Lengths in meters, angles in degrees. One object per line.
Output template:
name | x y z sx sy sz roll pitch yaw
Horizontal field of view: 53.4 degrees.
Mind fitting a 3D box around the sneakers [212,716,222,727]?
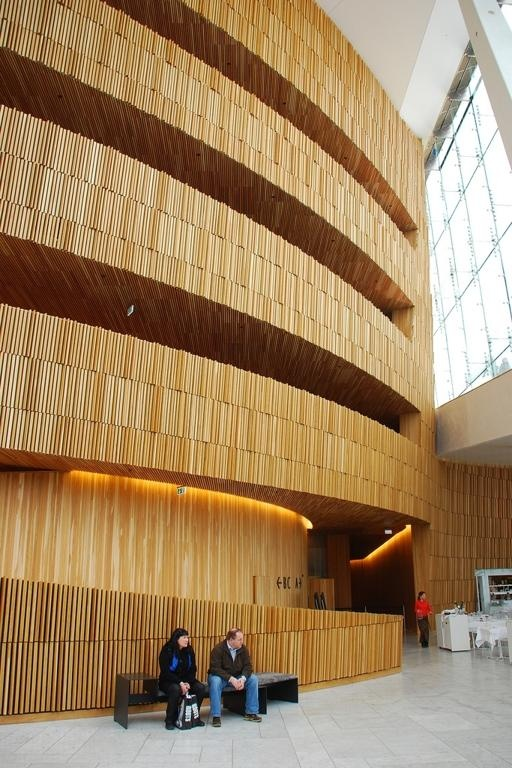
sneakers | -0.347 2.964 4.497 0.074 0.060 0.178 1 -16 -6

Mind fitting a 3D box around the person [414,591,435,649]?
person | 4.159 5.783 12.640 0.289 1.337 0.344 -4 2 -1

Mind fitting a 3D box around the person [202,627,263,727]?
person | -0.206 2.769 4.856 0.490 0.758 0.713 1 -14 -5

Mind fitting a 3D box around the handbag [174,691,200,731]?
handbag | -0.577 2.675 4.344 0.152 0.366 0.314 -12 -24 28

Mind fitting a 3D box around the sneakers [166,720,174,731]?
sneakers | -0.729 2.856 4.293 0.099 0.051 0.078 -5 -16 12
